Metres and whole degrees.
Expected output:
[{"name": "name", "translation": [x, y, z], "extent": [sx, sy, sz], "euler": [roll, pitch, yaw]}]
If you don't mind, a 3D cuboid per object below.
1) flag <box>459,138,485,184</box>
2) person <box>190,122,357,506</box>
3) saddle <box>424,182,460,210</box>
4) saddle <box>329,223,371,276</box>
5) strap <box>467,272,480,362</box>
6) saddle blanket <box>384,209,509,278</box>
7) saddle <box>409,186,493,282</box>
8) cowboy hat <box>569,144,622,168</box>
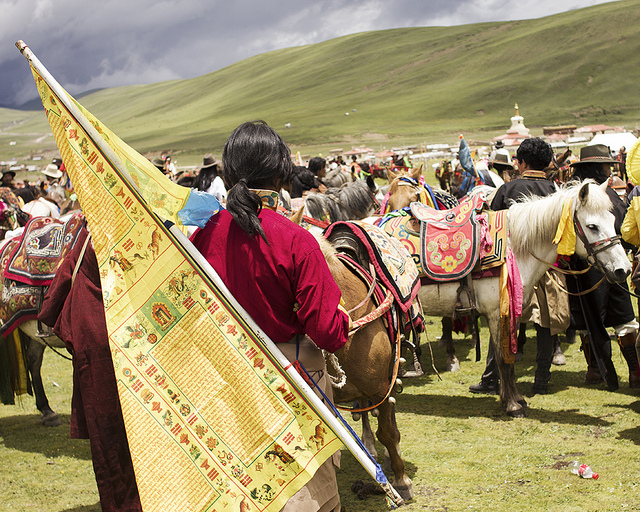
[{"name": "flag", "translation": [2.555, -1.593, 9.770], "extent": [0.392, 0.757, 1.123], "euler": [-3, 8, 15]}, {"name": "person", "translation": [-0.300, 0.091, 3.390], "extent": [0.868, 1.757, 0.439], "euler": [-5, 8, 4]}, {"name": "saddle", "translation": [1.826, -0.874, 8.544], "extent": [0.433, 0.224, 0.617], "euler": [10, -6, 37]}, {"name": "saddle", "translation": [0.243, -0.065, 4.857], "extent": [0.172, 0.415, 0.319], "euler": [-26, 13, -34]}, {"name": "strap", "translation": [1.783, 0.703, 6.732], "extent": [0.081, 1.104, 0.323], "euler": [-3, 9, 17]}, {"name": "saddle blanket", "translation": [1.440, -0.185, 6.626], "extent": [1.231, 0.337, 0.827], "euler": [-2, 16, 13]}, {"name": "saddle", "translation": [1.548, -0.267, 6.863], "extent": [0.868, 1.067, 0.783], "euler": [6, 13, 16]}, {"name": "cowboy hat", "translation": [3.499, -1.301, 7.409], "extent": [0.508, 0.272, 0.627], "euler": [-1, 8, 24]}]
